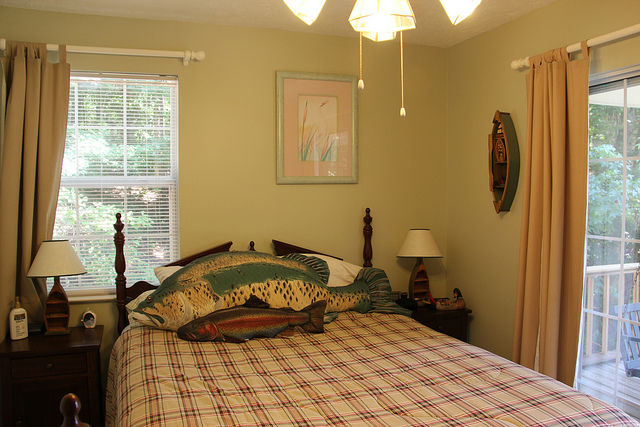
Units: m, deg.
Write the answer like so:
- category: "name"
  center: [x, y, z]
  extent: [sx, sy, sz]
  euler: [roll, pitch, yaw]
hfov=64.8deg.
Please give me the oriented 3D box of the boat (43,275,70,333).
- category: "boat"
  center: [-2.021, 0.675, 3.837]
  extent: [0.195, 0.470, 0.172]
  euler: [-4, 13, -19]

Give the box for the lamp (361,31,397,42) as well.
- category: "lamp"
  center: [0.318, -0.940, 2.672]
  extent: [0.097, 0.027, 0.095]
  euler: [-5, 9, -37]

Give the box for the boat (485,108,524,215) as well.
- category: "boat"
  center: [1.540, -0.461, 4.272]
  extent: [0.192, 0.848, 0.378]
  euler: [-3, 13, -15]

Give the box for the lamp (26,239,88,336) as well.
- category: "lamp"
  center: [-1.974, 0.558, 3.811]
  extent: [0.382, 0.722, 0.246]
  euler: [-8, 14, -31]

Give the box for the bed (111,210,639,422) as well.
- category: "bed"
  center: [-0.049, 0.739, 3.271]
  extent: [2.629, 0.619, 1.825]
  euler: [-2, 12, -10]

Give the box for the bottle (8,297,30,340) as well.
- category: "bottle"
  center: [-2.273, 0.774, 3.787]
  extent: [0.133, 0.293, 0.179]
  euler: [-7, 14, -31]

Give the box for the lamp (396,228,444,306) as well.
- category: "lamp"
  center: [0.913, 0.488, 4.586]
  extent: [0.403, 0.691, 0.402]
  euler: [0, 0, -2]
